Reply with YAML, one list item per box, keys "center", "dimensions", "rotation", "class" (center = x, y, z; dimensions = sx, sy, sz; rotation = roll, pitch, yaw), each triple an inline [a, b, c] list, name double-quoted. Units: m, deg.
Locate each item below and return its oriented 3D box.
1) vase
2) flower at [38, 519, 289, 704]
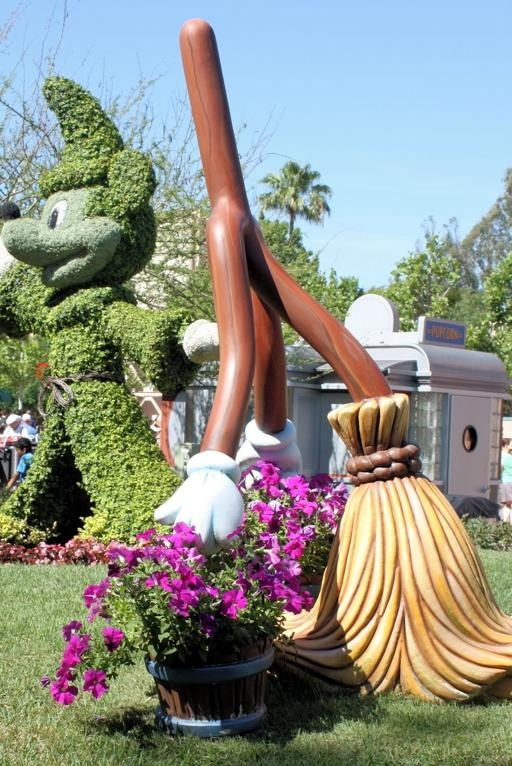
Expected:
- center: [-0.153, 1.072, 3.494]
  dimensions: [0.339, 0.224, 0.327]
  rotation: [1, -5, -36]
  class: "vase"
- center: [-0.279, 0.807, 3.416]
  dimensions: [0.926, 0.561, 0.397]
  rotation: [-1, -1, -14]
  class: "flower"
